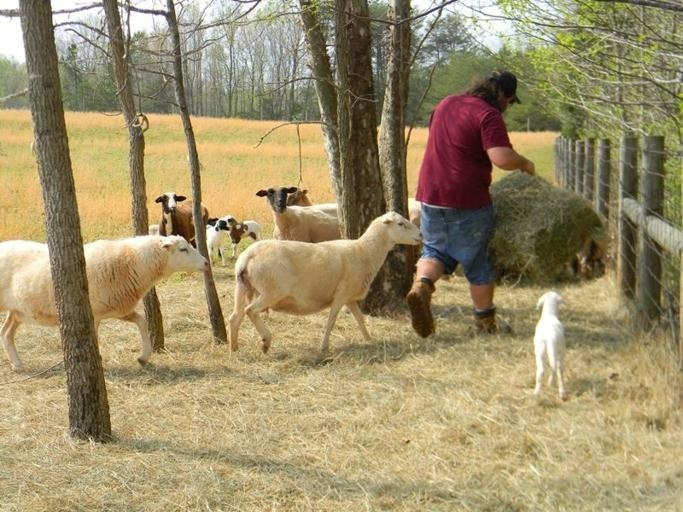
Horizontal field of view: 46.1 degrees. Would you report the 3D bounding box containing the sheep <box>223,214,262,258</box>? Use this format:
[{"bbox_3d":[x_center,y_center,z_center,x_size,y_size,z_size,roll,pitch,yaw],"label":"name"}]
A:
[{"bbox_3d":[-2.232,-0.439,17.894,1.248,0.938,0.427,-8,13,-42],"label":"sheep"}]

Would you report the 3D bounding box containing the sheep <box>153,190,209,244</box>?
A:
[{"bbox_3d":[-3.381,-0.609,16.873,0.599,1.364,2.112,5,2,8],"label":"sheep"}]

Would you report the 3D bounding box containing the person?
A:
[{"bbox_3d":[1.572,-0.632,10.114,1.318,3.253,0.761,-2,9,11],"label":"person"}]

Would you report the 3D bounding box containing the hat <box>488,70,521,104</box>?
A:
[{"bbox_3d":[2.075,-2.171,10.141,0.414,0.255,0.298,35,-6,-39],"label":"hat"}]

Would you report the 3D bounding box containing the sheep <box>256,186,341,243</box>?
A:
[{"bbox_3d":[-0.670,-0.545,15.089,0.819,1.577,2.233,5,7,30],"label":"sheep"}]

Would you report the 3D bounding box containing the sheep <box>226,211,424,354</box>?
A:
[{"bbox_3d":[-0.135,0.407,10.955,1.704,1.396,0.559,0,-7,-19],"label":"sheep"}]
